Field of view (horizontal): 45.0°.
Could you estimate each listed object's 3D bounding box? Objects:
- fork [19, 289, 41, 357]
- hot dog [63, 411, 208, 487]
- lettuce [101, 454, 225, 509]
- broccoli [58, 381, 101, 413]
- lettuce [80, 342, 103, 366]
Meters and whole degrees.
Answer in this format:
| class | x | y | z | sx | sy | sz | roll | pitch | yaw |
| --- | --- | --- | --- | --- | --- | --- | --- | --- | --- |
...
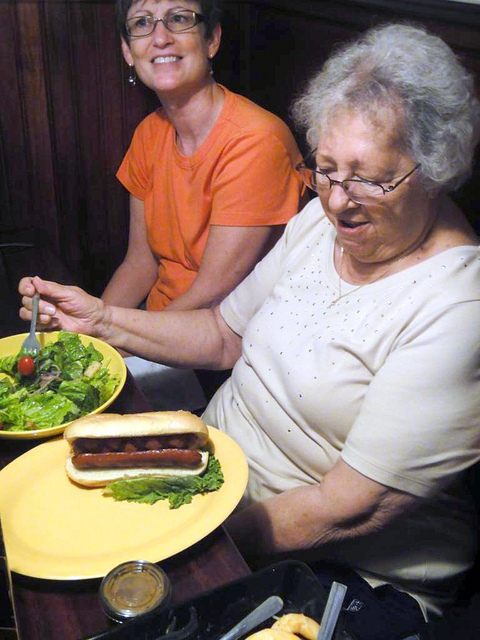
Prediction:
| class | x | y | z | sx | sy | sz | roll | pitch | yaw |
| --- | --- | --- | --- | --- | --- | --- | --- | --- | --- |
| fork | -0.461 | -0.010 | 1.261 | 0.043 | 0.017 | 0.186 | 6 | 66 | -20 |
| hot dog | -0.153 | 0.191 | 0.873 | 0.181 | 0.060 | 0.100 | -3 | 42 | -6 |
| lettuce | -0.124 | 0.237 | 0.868 | 0.195 | 0.038 | 0.111 | 1 | -2 | 7 |
| broccoli | -0.279 | 0.133 | 1.025 | 0.054 | 0.016 | 0.055 | -25 | 53 | -29 |
| lettuce | -0.311 | 0.067 | 1.176 | 0.042 | 0.016 | 0.039 | 7 | 55 | -6 |
